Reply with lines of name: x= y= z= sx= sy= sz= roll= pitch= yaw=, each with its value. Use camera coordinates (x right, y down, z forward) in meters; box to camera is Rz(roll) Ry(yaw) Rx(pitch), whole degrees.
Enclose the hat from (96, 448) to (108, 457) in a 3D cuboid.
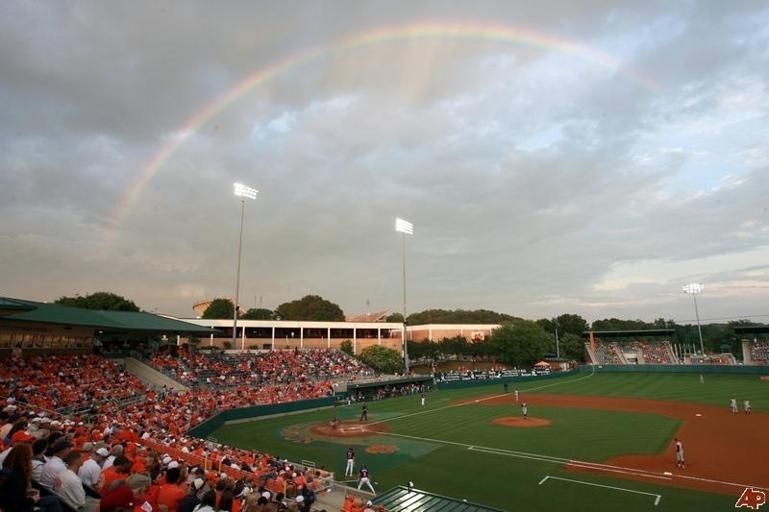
hat: x=-12.752 y=8.956 z=20.950 sx=0.338 sy=0.281 sz=0.494 roll=14 pitch=-13 yaw=14
